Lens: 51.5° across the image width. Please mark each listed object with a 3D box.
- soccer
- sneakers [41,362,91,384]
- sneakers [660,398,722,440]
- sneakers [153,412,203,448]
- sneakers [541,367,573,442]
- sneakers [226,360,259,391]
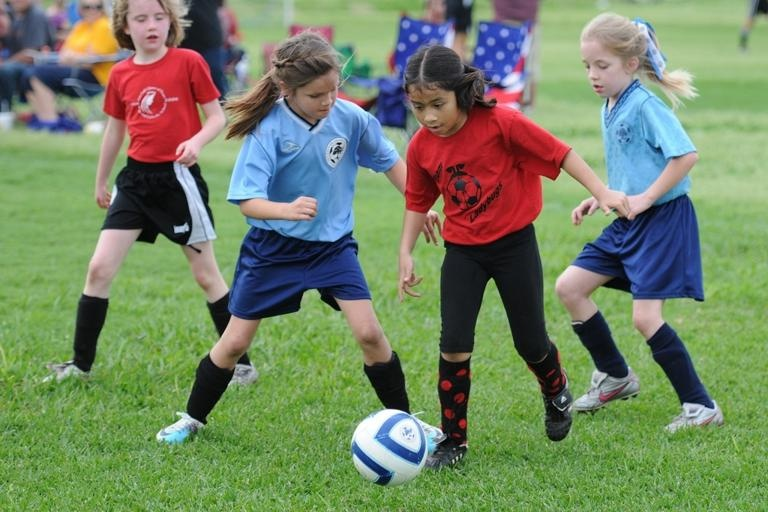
[{"bbox_3d":[0.030,1.106,4.604,0.431,0.390,0.281,4,16,4],"label":"soccer"},{"bbox_3d":[-2.136,0.779,5.289,0.214,0.091,0.146,3,3,-1],"label":"sneakers"},{"bbox_3d":[1.948,1.018,5.039,0.415,0.186,0.148,-12,1,-6],"label":"sneakers"},{"bbox_3d":[-1.288,1.073,4.957,0.139,0.131,0.278,16,17,38],"label":"sneakers"},{"bbox_3d":[1.095,0.909,4.985,0.158,0.453,0.197,0,7,26],"label":"sneakers"},{"bbox_3d":[-0.991,0.818,5.517,0.172,0.069,0.136,5,36,11],"label":"sneakers"}]
